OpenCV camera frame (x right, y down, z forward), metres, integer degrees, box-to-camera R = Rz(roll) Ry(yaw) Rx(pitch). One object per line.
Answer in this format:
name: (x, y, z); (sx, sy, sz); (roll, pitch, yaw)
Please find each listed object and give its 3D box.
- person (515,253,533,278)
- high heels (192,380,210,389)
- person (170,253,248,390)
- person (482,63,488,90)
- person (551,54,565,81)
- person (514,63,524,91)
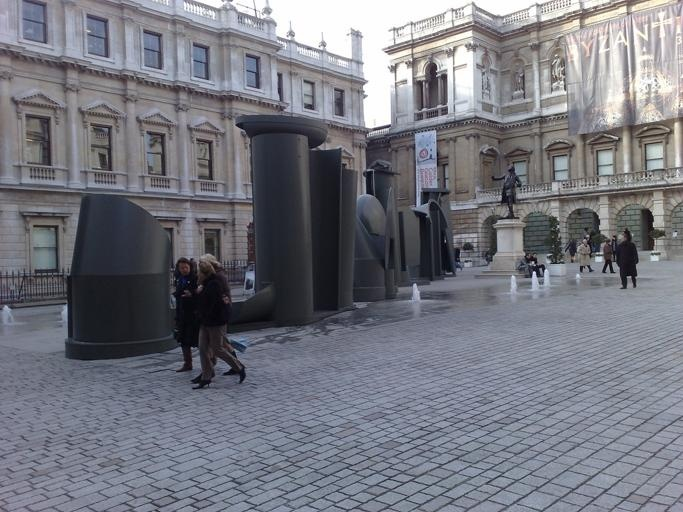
person: (8.374, 0.453, 30.786); (0.923, 1.603, 0.748); (-2, -3, 8)
high heels: (-2.101, 1.942, 10.189); (0.328, 0.170, 0.116); (0, -3, 6)
person: (-1.928, 0.990, 10.256); (0.696, 1.957, 0.391); (-3, 8, -12)
person: (11.692, -14.469, 54.257); (0.270, 1.949, 1.112); (4, 10, 36)
person: (17.068, -14.742, 52.570); (0.422, 2.046, 1.451); (-5, 8, -24)
person: (14.625, -14.591, 55.051); (0.558, 2.200, 1.131); (-5, 8, -23)
